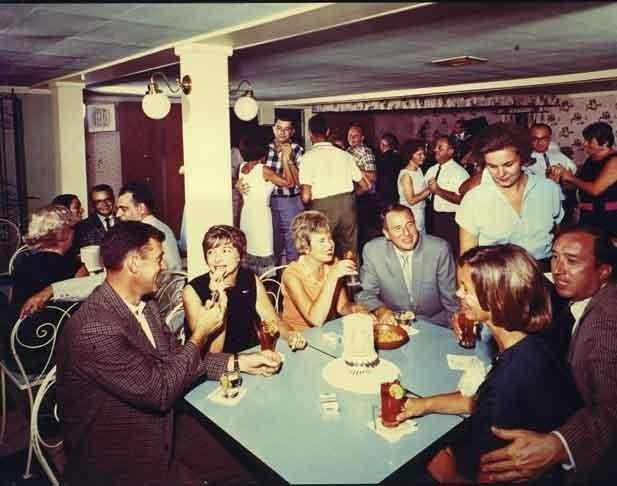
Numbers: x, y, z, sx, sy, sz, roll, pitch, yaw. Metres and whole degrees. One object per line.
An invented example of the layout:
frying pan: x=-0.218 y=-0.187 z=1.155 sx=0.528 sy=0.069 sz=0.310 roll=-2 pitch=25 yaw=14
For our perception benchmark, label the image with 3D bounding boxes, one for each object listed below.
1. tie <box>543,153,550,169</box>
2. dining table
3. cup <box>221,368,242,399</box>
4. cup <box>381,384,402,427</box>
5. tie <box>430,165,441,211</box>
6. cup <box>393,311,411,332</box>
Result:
tie: x=2.276 y=-0.778 z=4.901 sx=0.042 sy=0.156 sz=0.042 roll=5 pitch=-11 yaw=-11
dining table: x=0.178 y=0.738 z=2.519 sx=1.217 sy=0.270 sz=1.034 roll=-11 pitch=11 yaw=-40
cup: x=-0.366 y=0.674 z=2.441 sx=0.115 sy=0.152 sz=0.120 roll=2 pitch=-6 yaw=0
cup: x=0.362 y=0.705 z=2.240 sx=0.098 sy=0.195 sz=0.069 roll=-2 pitch=9 yaw=13
tie: x=1.389 y=-0.624 z=5.659 sx=0.056 sy=0.461 sz=0.066 roll=19 pitch=20 yaw=34
cup: x=0.570 y=0.480 z=3.064 sx=0.106 sy=0.095 sz=0.091 roll=-2 pitch=-2 yaw=27
